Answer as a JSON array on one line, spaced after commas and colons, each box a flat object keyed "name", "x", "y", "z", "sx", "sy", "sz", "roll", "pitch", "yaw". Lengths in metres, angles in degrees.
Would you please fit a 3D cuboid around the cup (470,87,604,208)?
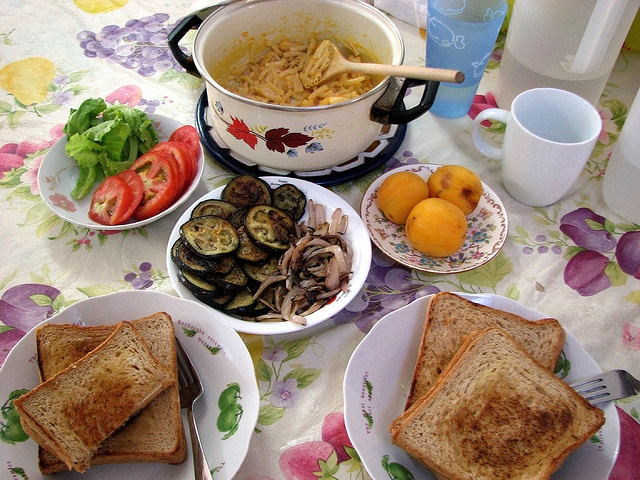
[{"name": "cup", "x": 0.506, "y": -0.270, "z": 1.275, "sx": 0.320, "sy": 0.248, "sz": 0.221, "roll": 21, "pitch": 63, "yaw": 28}]

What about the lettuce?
[{"name": "lettuce", "x": -0.539, "y": -0.232, "z": 1.287, "sx": 0.208, "sy": 0.114, "sz": 0.263, "roll": 0, "pitch": 62, "yaw": -7}]

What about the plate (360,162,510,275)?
[{"name": "plate", "x": 0.258, "y": -0.042, "z": 1.138, "sx": 0.335, "sy": 0.060, "sz": 0.259, "roll": 7, "pitch": 66, "yaw": 5}]

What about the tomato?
[{"name": "tomato", "x": -0.413, "y": -0.161, "z": 1.166, "sx": 0.170, "sy": 0.075, "sz": 0.262, "roll": 12, "pitch": 62, "yaw": 8}]

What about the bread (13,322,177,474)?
[{"name": "bread", "x": -0.406, "y": 0.309, "z": 0.950, "sx": 0.175, "sy": 0.083, "sz": 0.273, "roll": 39, "pitch": 68, "yaw": 9}]
